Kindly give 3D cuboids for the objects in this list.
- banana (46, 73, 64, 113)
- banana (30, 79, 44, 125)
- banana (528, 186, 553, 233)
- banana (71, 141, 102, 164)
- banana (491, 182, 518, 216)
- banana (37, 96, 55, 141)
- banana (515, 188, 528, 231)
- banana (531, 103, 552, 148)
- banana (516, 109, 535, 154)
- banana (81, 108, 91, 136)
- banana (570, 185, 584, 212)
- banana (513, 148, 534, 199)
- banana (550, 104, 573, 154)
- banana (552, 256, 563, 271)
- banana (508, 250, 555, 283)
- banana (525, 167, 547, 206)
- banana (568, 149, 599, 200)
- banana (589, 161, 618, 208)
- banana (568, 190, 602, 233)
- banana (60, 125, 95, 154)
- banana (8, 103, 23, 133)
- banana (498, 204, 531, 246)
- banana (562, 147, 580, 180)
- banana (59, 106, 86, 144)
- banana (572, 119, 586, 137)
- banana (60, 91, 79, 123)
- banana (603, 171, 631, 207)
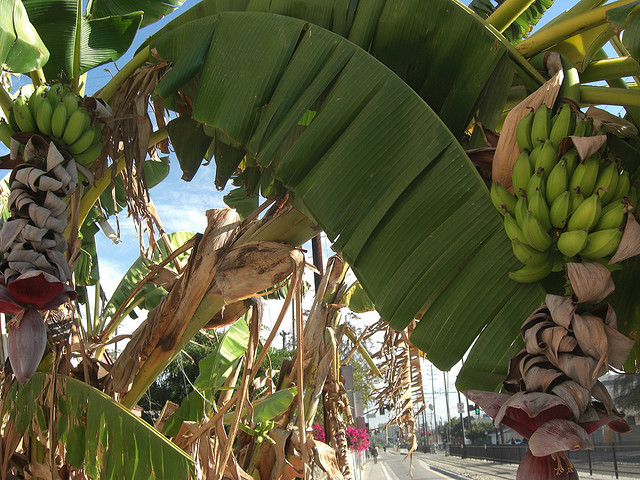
[{"bbox_3d":[-1.512,-0.843,3.139,0.058,0.248,0.092,-4,-31,-4],"label":"banana"},{"bbox_3d":[-1.584,-0.770,3.059,0.051,0.233,0.074,-1,-7,15],"label":"banana"},{"bbox_3d":[0.957,-0.135,2.357,0.059,0.226,0.071,-15,6,17],"label":"banana"},{"bbox_3d":[-1.368,-0.498,3.220,0.116,0.048,0.125,5,-41,-46],"label":"banana"},{"bbox_3d":[0.838,-0.183,2.487,0.093,0.154,0.050,-41,-23,30],"label":"banana"},{"bbox_3d":[-1.527,-0.677,3.052,0.057,0.254,0.080,-4,-1,6],"label":"banana"},{"bbox_3d":[0.885,-0.137,2.389,0.036,0.162,0.055,-2,-2,-3],"label":"banana"},{"bbox_3d":[0.988,-0.517,2.419,0.052,0.223,0.071,6,-18,6],"label":"banana"},{"bbox_3d":[0.927,-0.478,2.483,0.075,0.239,0.064,8,9,12],"label":"banana"},{"bbox_3d":[-1.329,-0.672,3.098,0.032,0.151,0.048,4,11,24],"label":"banana"},{"bbox_3d":[1.099,-0.173,2.326,0.032,0.125,0.044,7,-4,-12],"label":"banana"},{"bbox_3d":[0.904,-0.295,2.416,0.068,0.241,0.065,6,-7,-33],"label":"banana"},{"bbox_3d":[1.082,-0.480,2.450,0.074,0.106,0.288,11,-25,13],"label":"banana"},{"bbox_3d":[1.059,0.105,2.420,0.013,0.067,0.038,5,-6,-40],"label":"banana"},{"bbox_3d":[0.954,0.122,2.416,0.083,0.116,0.305,-22,-25,4],"label":"banana"},{"bbox_3d":[0.937,-0.243,2.415,0.054,0.071,0.176,-39,-4,-4],"label":"banana"},{"bbox_3d":[1.134,-0.276,2.333,0.050,0.202,0.068,30,5,8],"label":"banana"},{"bbox_3d":[1.232,-0.252,2.365,0.069,0.241,0.080,28,-26,-14],"label":"banana"},{"bbox_3d":[1.131,-0.105,2.358,0.071,0.233,0.077,27,9,12],"label":"banana"},{"bbox_3d":[-1.375,-0.556,3.118,0.188,0.079,0.106,-36,-36,31],"label":"banana"},{"bbox_3d":[-1.746,-0.662,3.109,0.071,0.230,0.049,-2,-13,-26],"label":"banana"},{"bbox_3d":[0.861,-0.051,2.445,0.053,0.207,0.079,-20,-19,-9],"label":"banana"},{"bbox_3d":[1.091,-0.337,2.363,0.042,0.187,0.059,2,-8,-4],"label":"banana"},{"bbox_3d":[-1.378,-0.634,3.058,0.073,0.296,0.109,19,1,-22],"label":"banana"},{"bbox_3d":[1.131,-0.484,2.373,0.020,0.076,0.045,18,-8,3],"label":"banana"},{"bbox_3d":[-1.406,-0.767,3.067,0.051,0.225,0.072,-4,-10,-8],"label":"banana"},{"bbox_3d":[1.317,-0.230,2.417,0.069,0.237,0.057,10,-9,40],"label":"banana"}]
